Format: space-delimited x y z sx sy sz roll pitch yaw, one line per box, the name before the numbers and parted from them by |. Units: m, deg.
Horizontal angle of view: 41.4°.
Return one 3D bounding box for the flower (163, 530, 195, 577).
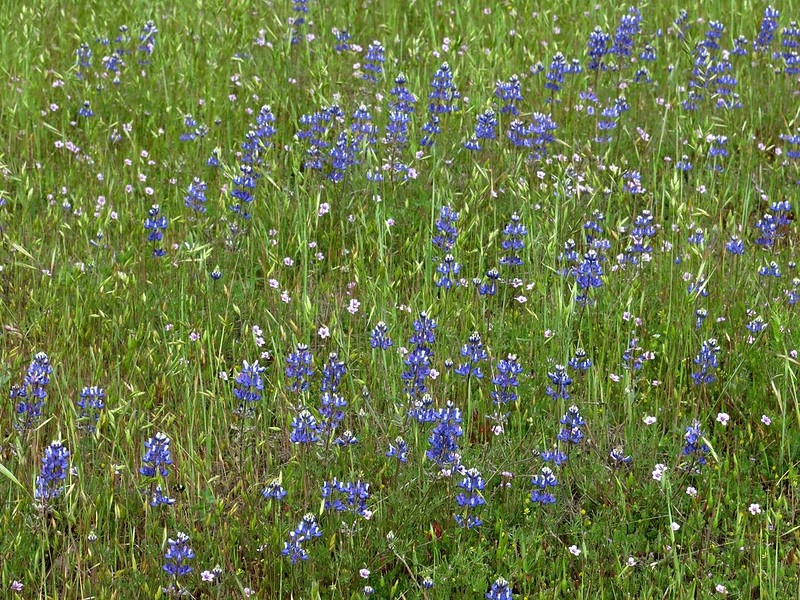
flower | -1.195 1.355 5.694 0.135 0.294 0.169 6 13 25
